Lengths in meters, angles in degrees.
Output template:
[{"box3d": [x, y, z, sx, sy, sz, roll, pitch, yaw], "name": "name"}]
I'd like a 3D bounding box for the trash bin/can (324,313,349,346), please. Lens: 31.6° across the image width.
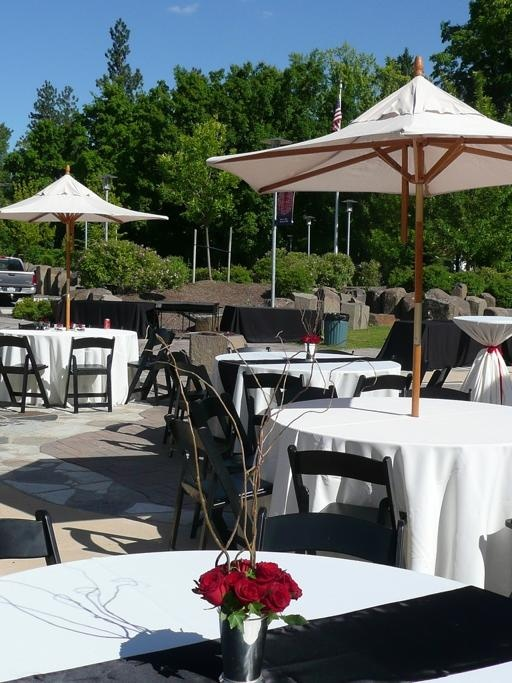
[{"box3d": [1.722, -0.262, 18.704, 0.621, 0.696, 0.567, 1, 2, 23], "name": "trash bin/can"}]
